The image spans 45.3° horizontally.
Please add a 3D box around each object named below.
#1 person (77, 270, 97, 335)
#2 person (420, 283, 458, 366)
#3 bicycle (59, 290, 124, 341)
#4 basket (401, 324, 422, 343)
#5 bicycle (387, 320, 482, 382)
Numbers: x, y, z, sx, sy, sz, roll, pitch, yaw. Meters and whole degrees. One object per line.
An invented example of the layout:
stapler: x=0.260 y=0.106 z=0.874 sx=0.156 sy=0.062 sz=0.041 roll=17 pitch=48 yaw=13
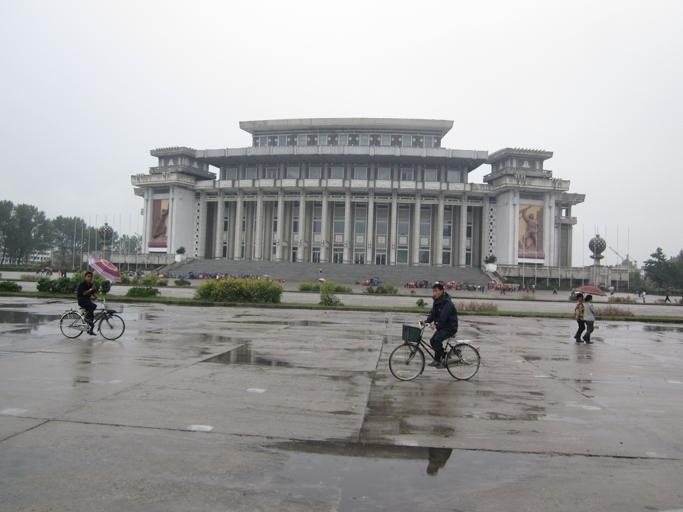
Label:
person: x=-7.008 y=1.256 z=22.539 sx=0.513 sy=1.822 sz=1.367 roll=-2 pitch=12 yaw=-17
person: x=2.169 y=1.499 z=18.125 sx=0.711 sy=1.824 sz=0.701 roll=2 pitch=11 yaw=0
bicycle: x=-6.792 y=1.665 z=22.133 sx=1.755 sy=1.055 sz=0.875 roll=1 pitch=-7 yaw=-2
basket: x=1.555 y=1.714 z=18.077 sx=0.406 sy=0.447 sz=0.419 roll=3 pitch=11 yaw=3
bicycle: x=2.090 y=2.102 z=18.189 sx=2.154 sy=1.244 sz=0.937 roll=2 pitch=-8 yaw=-12
